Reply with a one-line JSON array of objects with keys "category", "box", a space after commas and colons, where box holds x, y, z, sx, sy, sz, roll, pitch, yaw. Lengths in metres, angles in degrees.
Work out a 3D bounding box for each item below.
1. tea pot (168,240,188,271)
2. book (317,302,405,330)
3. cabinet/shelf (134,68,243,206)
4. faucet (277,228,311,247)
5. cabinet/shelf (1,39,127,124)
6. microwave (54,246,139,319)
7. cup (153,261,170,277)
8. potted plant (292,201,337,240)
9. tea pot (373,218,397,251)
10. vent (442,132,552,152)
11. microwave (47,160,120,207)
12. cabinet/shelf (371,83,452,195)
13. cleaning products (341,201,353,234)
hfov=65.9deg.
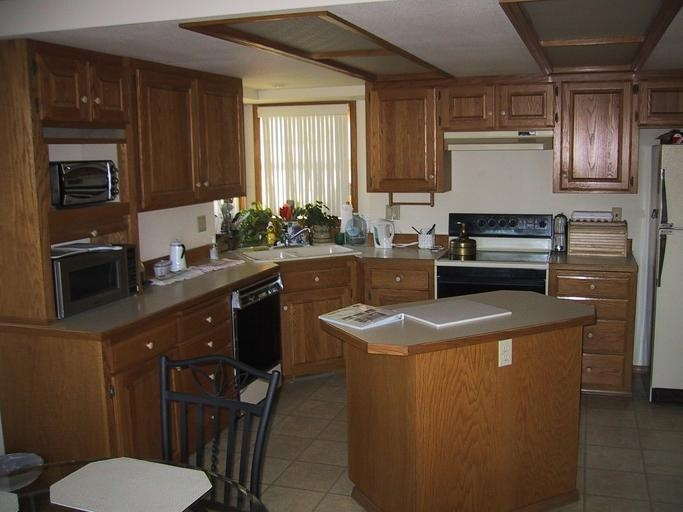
[{"category": "tea pot", "box": [-1.277, -0.007, 4.093, 0.117, 0.213, 0.244, -5, 12, -17]}, {"category": "book", "box": [0.107, 0.356, 3.158, 0.329, 0.044, 0.323, -6, 11, -44]}, {"category": "cabinet/shelf", "box": [-1.175, -0.921, 3.967, 0.422, 0.885, 1.090, 3, 11, 16]}, {"category": "faucet", "box": [-0.473, -0.190, 5.170, 0.333, 0.166, 0.137, -3, 12, -8]}, {"category": "cabinet/shelf", "box": [-1.597, -0.995, 2.974, 0.169, 0.263, 0.556, 3, 10, 11]}, {"category": "microwave", "box": [-1.475, 0.117, 3.138, 0.381, 0.387, 0.623, 4, 11, 15]}, {"category": "cup", "box": [-1.337, 0.093, 3.927, 0.082, 0.088, 0.133, 0, -4, -10]}, {"category": "potted plant", "box": [-0.258, -0.380, 5.393, 0.436, 0.351, 0.399, 0, 6, 17]}, {"category": "tea pot", "box": [0.408, -0.223, 5.106, 0.189, 0.266, 0.197, -1, 12, 0]}, {"category": "vent", "box": [1.412, -1.051, 4.738, 0.923, 0.151, 0.179, 1, 12, 10]}, {"category": "microwave", "box": [-1.549, -0.440, 3.145, 0.160, 0.265, 0.487, 2, 12, 12]}, {"category": "cabinet/shelf", "box": [0.645, -1.125, 5.286, 0.958, 1.321, 0.906, 0, 4, 15]}, {"category": "cleaning products", "box": [0.061, -0.390, 5.340, 0.119, 0.276, 0.143, 0, 12, 3]}]
